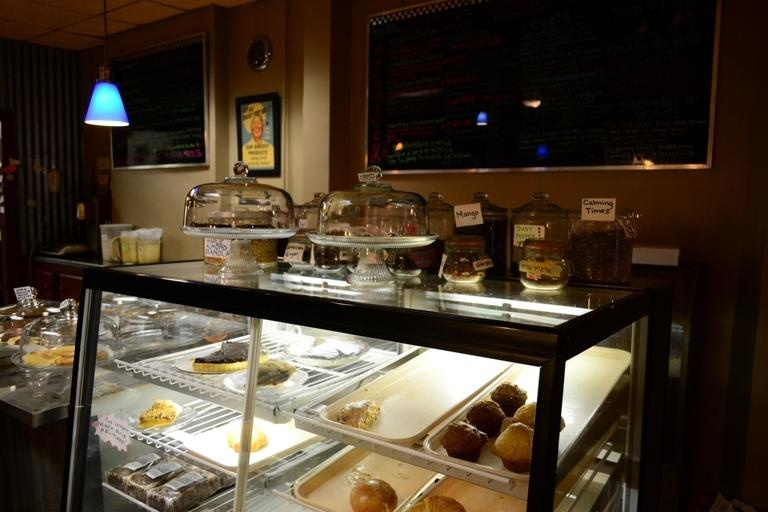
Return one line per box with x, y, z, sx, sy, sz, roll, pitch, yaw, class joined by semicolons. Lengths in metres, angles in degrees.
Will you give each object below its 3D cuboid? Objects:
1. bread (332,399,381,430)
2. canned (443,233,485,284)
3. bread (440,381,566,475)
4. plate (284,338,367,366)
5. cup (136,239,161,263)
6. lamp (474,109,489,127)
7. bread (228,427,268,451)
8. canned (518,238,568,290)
-0.087;0.611;2.032;0.098;0.042;0.129;1;5;31;bread
0.340;0.012;2.273;0.198;0.181;0.195;1;-1;1;canned
0.407;0.627;1.907;0.302;0.098;0.305;-1;13;25;bread
-0.259;0.425;2.274;0.203;0.050;0.203;2;6;20;plate
-2.289;-0.058;5.021;0.241;0.224;0.235;1;1;0;cup
0.659;-0.920;3.447;0.096;0.087;0.094;2;7;7;lamp
-0.593;0.815;2.288;0.146;0.047;0.138;-1;10;-23;bread
0.639;0.027;2.048;0.192;0.182;0.196;0;2;38;canned
